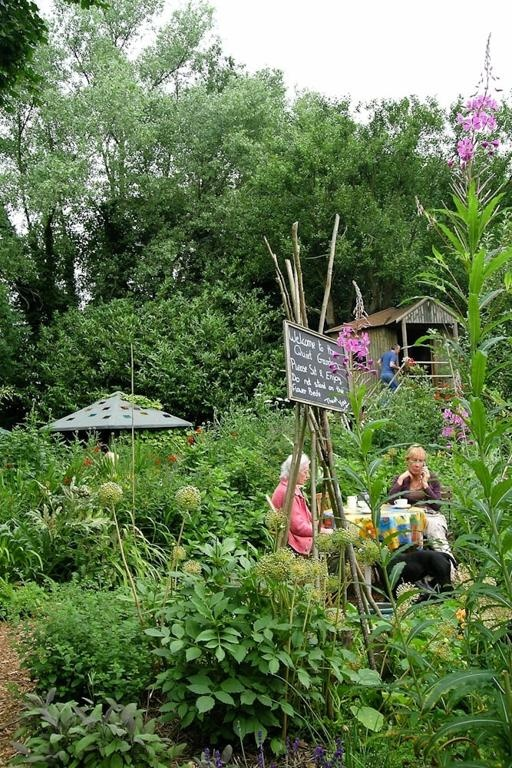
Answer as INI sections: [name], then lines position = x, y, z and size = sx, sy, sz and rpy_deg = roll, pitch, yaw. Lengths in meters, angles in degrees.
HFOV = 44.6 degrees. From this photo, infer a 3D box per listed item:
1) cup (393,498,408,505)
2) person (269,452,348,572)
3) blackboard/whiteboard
[cup]
position = 1.230, 0.990, 5.283
size = 0.081, 0.068, 0.097
rpy_deg = 4, -11, -33
[person]
position = 0.374, 0.936, 4.927
size = 0.461, 0.761, 0.423
rpy_deg = -2, 1, 6
[blackboard/whiteboard]
position = 0.326, -0.077, 3.249
size = 0.231, 0.432, 0.794
rpy_deg = -3, -6, 17
